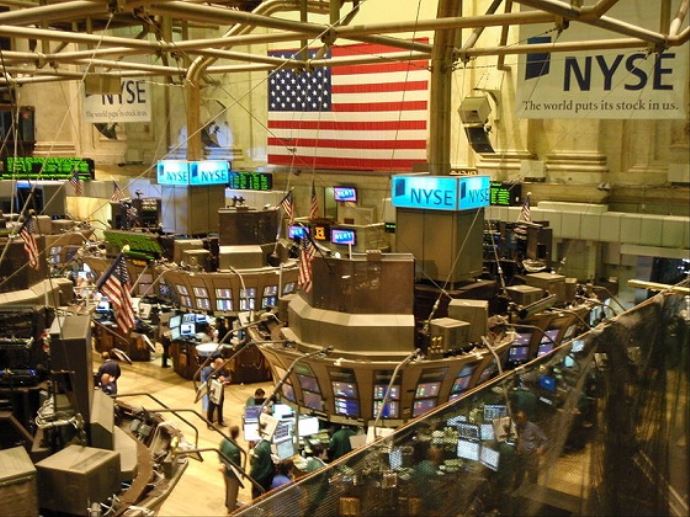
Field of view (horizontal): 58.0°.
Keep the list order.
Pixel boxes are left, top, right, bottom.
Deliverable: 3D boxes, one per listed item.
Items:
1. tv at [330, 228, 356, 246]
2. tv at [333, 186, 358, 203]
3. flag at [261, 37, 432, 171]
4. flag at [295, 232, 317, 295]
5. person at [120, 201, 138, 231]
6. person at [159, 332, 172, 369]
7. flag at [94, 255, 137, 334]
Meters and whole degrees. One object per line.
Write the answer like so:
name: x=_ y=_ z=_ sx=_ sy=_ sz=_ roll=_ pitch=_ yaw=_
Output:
tv: x=-0.078 y=-0.829 z=24.602 sx=1.117 sy=0.773 sz=0.999 roll=-1 pitch=9 yaw=23
tv: x=0.063 y=-2.735 z=26.710 sx=1.092 sy=0.730 sz=0.311 roll=3 pitch=11 yaw=40
flag: x=0.171 y=-6.412 z=26.126 sx=8.214 sy=5.181 sz=0.154 roll=-10 pitch=23 yaw=-33
flag: x=-0.703 y=0.056 z=11.951 sx=0.456 sy=1.413 sz=0.221 roll=15 pitch=36 yaw=21
person: x=-8.086 y=-1.633 z=23.263 sx=0.655 sy=0.997 sz=1.120 roll=-7 pitch=9 yaw=-19
person: x=-5.334 y=2.678 z=18.504 sx=0.364 sy=1.029 sz=0.757 roll=-7 pitch=9 yaw=-18
flag: x=-4.232 y=0.658 z=11.529 sx=0.339 sy=1.945 sz=0.827 roll=27 pitch=29 yaw=31
